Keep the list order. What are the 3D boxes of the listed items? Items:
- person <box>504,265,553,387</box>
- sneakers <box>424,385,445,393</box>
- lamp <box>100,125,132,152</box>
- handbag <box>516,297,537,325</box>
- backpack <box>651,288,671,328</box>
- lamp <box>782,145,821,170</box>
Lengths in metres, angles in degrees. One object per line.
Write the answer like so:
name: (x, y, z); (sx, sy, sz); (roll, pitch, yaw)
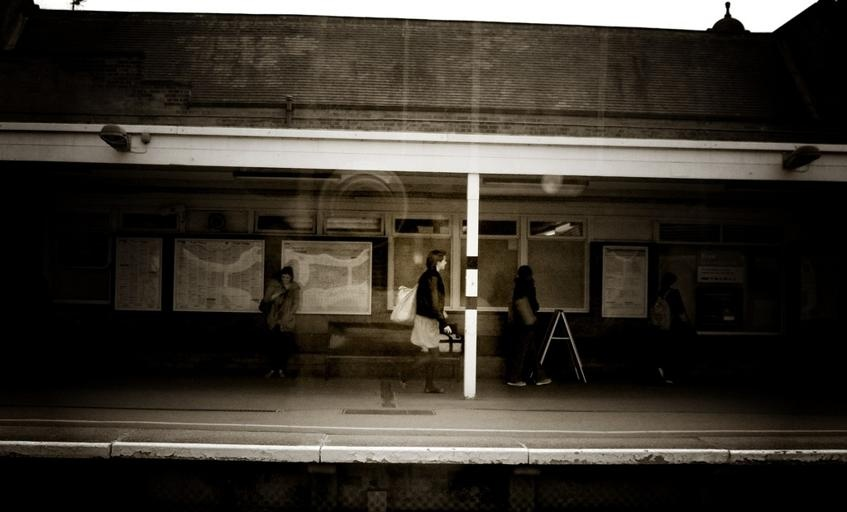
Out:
person: (2.753, 1.861, 31.640); (1.074, 3.134, 1.240); (2, -7, 4)
sneakers: (0.282, 3.377, 30.614); (0.390, 0.127, 0.205); (2, -1, -6)
lamp: (-7.500, -2.876, 29.714); (0.827, 0.555, 1.057); (2, -12, -7)
handbag: (2.668, 1.440, 31.091); (0.451, 0.681, 0.185); (-33, -3, -6)
backpack: (6.253, 1.377, 31.533); (0.544, 1.129, 0.346); (4, 24, 19)
lamp: (9.380, -2.411, 29.811); (0.623, 0.205, 0.728); (1, -14, -12)
